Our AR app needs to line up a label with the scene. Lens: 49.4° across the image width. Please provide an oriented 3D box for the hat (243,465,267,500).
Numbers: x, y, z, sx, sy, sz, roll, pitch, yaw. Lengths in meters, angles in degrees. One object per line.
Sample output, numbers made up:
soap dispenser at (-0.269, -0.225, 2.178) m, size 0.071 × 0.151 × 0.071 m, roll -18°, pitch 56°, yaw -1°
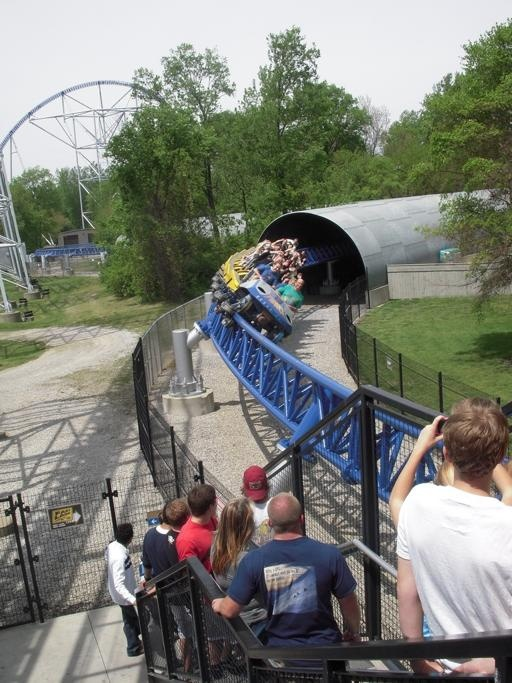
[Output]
hat at (-0.007, 1.216, 4.690) m, size 0.213 × 0.154 × 0.299 m, roll -2°, pitch 47°, yaw -4°
